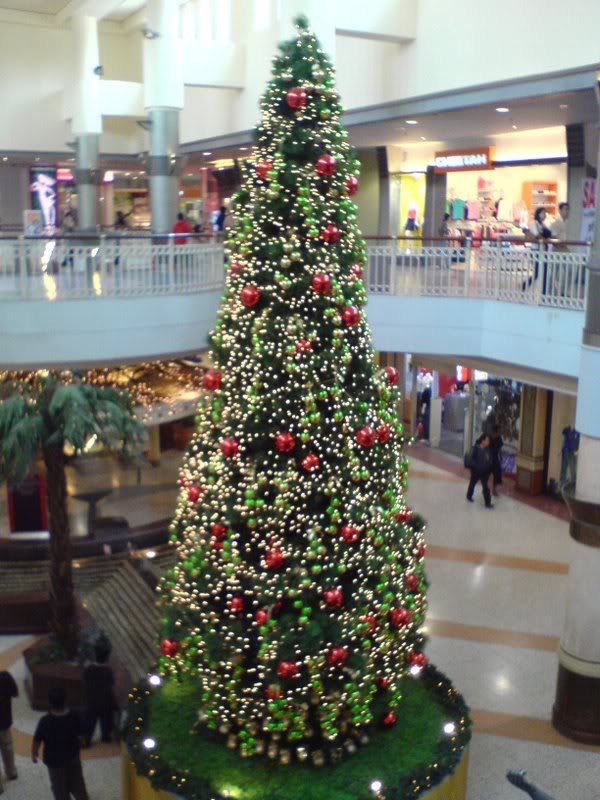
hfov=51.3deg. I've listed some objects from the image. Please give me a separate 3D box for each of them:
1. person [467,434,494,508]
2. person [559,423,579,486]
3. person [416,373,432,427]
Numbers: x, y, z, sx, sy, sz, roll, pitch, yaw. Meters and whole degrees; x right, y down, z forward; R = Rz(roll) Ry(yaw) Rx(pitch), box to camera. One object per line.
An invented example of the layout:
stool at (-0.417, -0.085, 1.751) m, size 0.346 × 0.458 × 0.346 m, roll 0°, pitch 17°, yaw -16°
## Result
person at (3.307, 1.202, 11.359) m, size 0.462 × 1.307 × 1.147 m, roll 2°, pitch 9°, yaw 16°
person at (4.805, 0.950, 11.096) m, size 0.233 × 0.954 × 0.409 m, roll 3°, pitch 8°, yaw 19°
person at (2.965, -0.073, 14.930) m, size 0.358 × 1.261 × 0.245 m, roll 7°, pitch 10°, yaw 41°
